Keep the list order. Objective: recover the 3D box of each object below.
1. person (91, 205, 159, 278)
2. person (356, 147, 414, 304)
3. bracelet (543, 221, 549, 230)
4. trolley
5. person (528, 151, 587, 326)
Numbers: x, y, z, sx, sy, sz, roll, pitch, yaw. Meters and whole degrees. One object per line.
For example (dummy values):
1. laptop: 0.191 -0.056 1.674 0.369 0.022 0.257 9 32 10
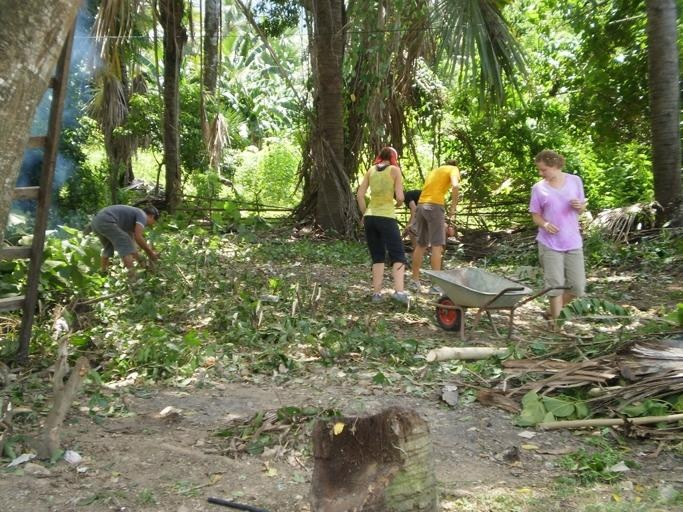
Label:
1. person: -3.097 -0.230 7.983 1.055 0.767 0.958 -2 -5 22
2. person: 0.523 -0.389 7.048 0.580 1.964 0.392 -2 2 2
3. bracelet: 2.114 -0.316 5.783 0.065 0.063 0.026 6 -4 0
4. trolley: 1.530 0.535 5.909 0.894 0.519 1.410 3 4 -37
5. person: 2.278 -0.335 5.861 0.549 1.555 0.284 -2 2 -10
